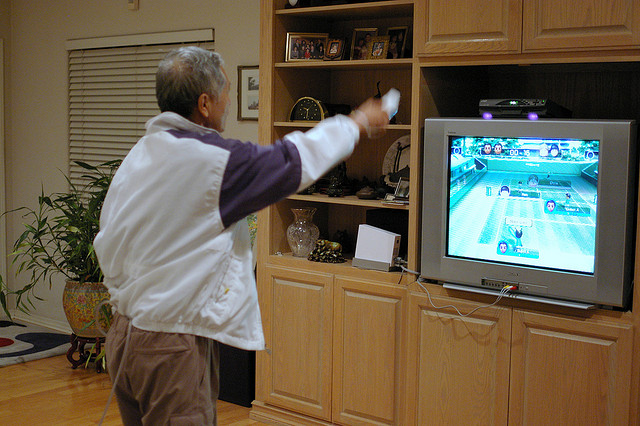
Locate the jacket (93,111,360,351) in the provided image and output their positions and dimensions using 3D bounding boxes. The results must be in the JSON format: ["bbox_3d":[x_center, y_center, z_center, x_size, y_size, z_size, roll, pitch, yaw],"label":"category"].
[{"bbox_3d":[-0.394,0.079,2.009,0.965,0.888,0.165,1,7,4],"label":"jacket"}]

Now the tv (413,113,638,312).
[{"bbox_3d":[1.093,-0.001,2.741,1.008,0.943,0.493,3,2,26],"label":"tv"}]

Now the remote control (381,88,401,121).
[{"bbox_3d":[0.294,-0.452,2.112,0.056,0.151,0.065,10,-21,18],"label":"remote control"}]

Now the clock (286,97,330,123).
[{"bbox_3d":[-0.068,-0.679,3.498,0.250,0.162,0.084,5,4,28],"label":"clock"}]

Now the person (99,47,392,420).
[{"bbox_3d":[-0.400,0.099,2.049,0.951,1.468,0.252,0,7,-2],"label":"person"}]

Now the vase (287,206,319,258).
[{"bbox_3d":[-0.112,0.133,3.606,0.218,0.328,0.224,-1,3,-11],"label":"vase"}]

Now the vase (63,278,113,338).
[{"bbox_3d":[-1.921,0.815,4.478,0.427,0.477,0.433,-1,-6,0],"label":"vase"}]
